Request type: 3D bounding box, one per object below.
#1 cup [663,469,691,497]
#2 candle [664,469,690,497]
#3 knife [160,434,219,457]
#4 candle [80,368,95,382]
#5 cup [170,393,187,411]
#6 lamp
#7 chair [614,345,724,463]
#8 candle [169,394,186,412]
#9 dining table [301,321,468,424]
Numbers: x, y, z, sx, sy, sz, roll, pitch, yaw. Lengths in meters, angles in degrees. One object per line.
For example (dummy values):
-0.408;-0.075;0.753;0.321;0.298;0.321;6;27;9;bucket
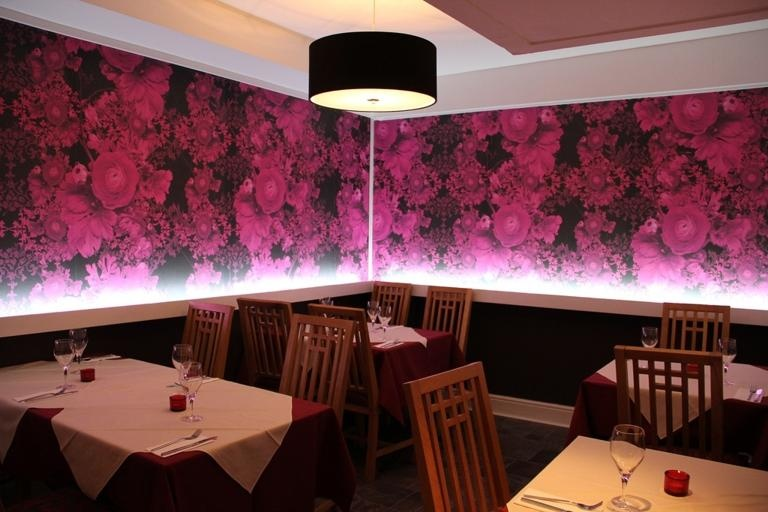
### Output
1.199;0.920;2.005;0.084;0.065;0.086;0;-2;0;cup
1.215;0.933;2.029;0.083;0.064;0.086;0;-1;-12;candle
-0.898;0.869;2.241;0.034;0.012;0.236;9;11;37;knife
-1.833;0.720;3.009;0.079;0.078;0.068;2;0;-42;candle
-1.120;0.785;2.635;0.076;0.060;0.078;2;1;0;cup
-0.036;-1.208;3.340;0.668;0.786;0.695;0;-3;18;lamp
1.533;0.805;2.622;0.446;0.892;0.463;7;24;37;chair
-1.119;0.786;2.632;0.074;0.058;0.076;3;-1;-13;candle
0.191;0.968;4.454;1.041;0.535;1.145;-10;6;1;dining table
